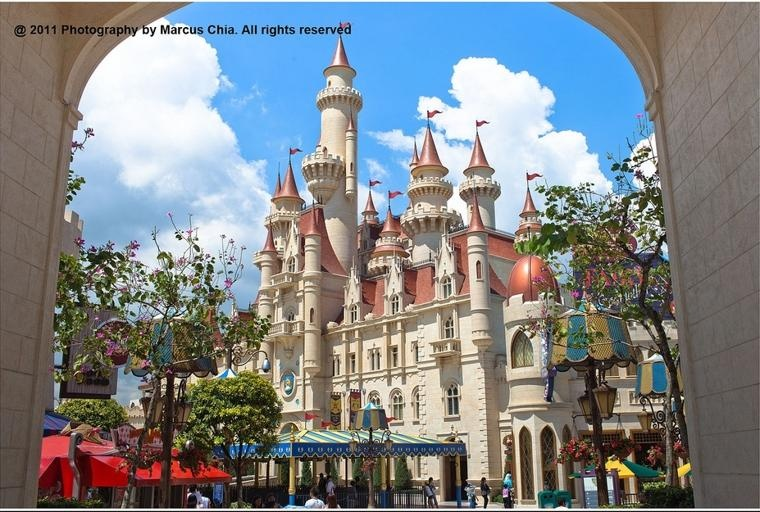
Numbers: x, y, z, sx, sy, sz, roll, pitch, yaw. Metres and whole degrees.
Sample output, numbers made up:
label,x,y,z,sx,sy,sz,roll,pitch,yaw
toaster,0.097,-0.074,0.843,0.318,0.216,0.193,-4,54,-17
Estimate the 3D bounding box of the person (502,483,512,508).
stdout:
label,x,y,z,sx,sy,sz,roll,pitch,yaw
person,5.947,10.998,35.787,0.387,1.032,2.166,-7,-22,9
